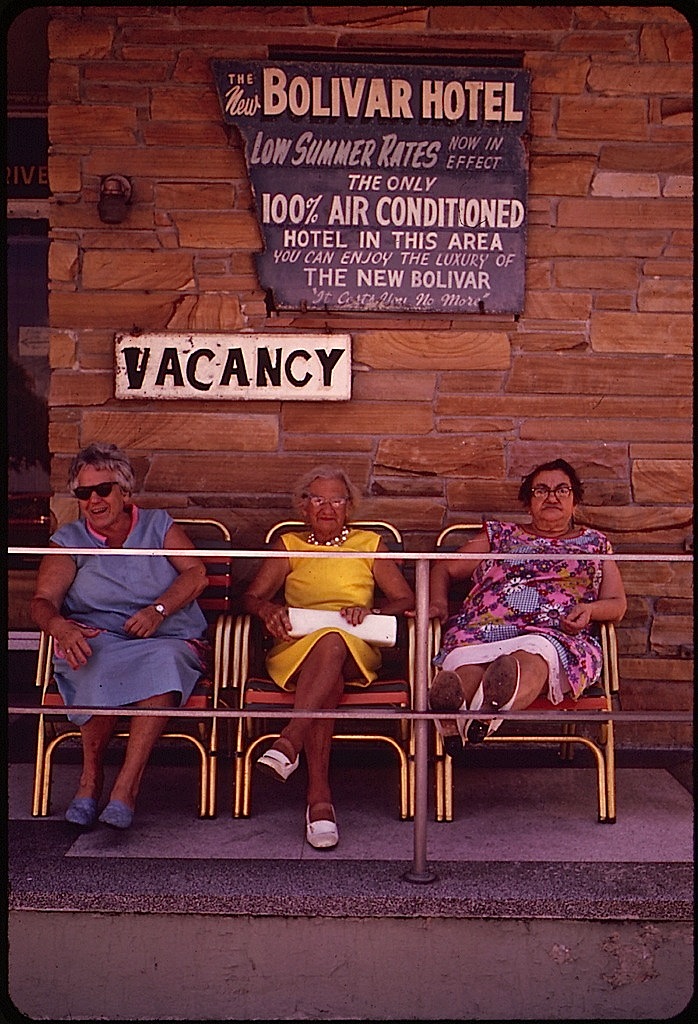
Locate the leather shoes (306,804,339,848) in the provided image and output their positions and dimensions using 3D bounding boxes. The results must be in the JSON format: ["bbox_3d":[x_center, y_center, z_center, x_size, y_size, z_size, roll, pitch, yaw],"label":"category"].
[{"bbox_3d":[-0.084,1.002,3.656,0.103,0.114,0.176,0,6,-1],"label":"leather shoes"}]

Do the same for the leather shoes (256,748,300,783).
[{"bbox_3d":[-0.229,0.836,3.697,0.095,0.059,0.162,26,-17,23],"label":"leather shoes"}]

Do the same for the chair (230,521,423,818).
[{"bbox_3d":[-0.034,0.599,4.289,0.907,1.256,0.937,0,-4,3],"label":"chair"}]

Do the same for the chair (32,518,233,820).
[{"bbox_3d":[-0.778,0.569,4.154,0.720,0.913,0.734,1,4,-10],"label":"chair"}]

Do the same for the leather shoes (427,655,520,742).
[{"bbox_3d":[0.396,0.567,3.590,0.218,0.326,0.136,3,-6,-5],"label":"leather shoes"}]

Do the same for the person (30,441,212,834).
[{"bbox_3d":[-0.798,0.405,3.962,0.591,1.239,0.803,0,6,-7],"label":"person"}]

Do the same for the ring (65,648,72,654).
[{"bbox_3d":[-0.920,0.457,3.726,0.017,0.019,0.008,2,6,17],"label":"ring"}]
